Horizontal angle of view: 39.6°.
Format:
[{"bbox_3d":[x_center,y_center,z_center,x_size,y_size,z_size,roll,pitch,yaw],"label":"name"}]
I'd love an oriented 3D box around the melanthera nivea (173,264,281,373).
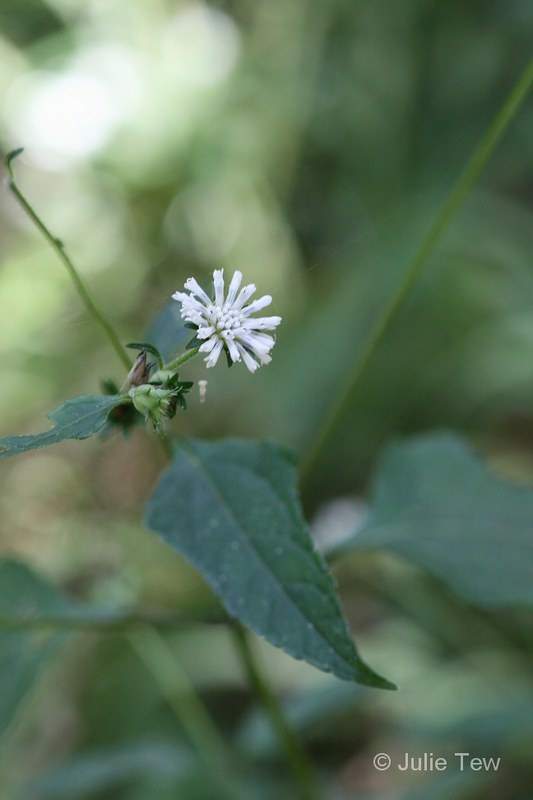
[{"bbox_3d":[-0.056,-0.109,1.011,0.139,0.122,0.053,6,41,27],"label":"melanthera nivea"}]
